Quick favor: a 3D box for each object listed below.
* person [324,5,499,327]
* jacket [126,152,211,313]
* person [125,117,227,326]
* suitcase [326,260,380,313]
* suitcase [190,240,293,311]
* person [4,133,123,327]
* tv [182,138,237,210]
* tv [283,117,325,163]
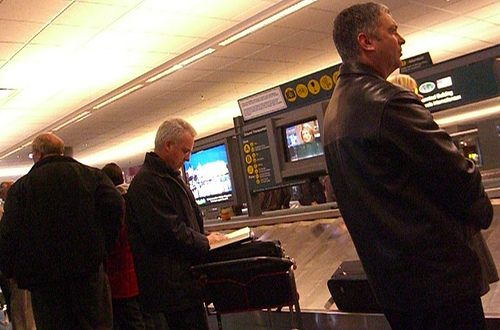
[{"bbox_3d":[0.700,-0.049,1.649,0.677,1.579,0.261,-11,-9,12],"label":"person"},{"bbox_3d":[-0.613,0.470,2.629,0.576,1.198,0.330,-5,-9,-20],"label":"jacket"},{"bbox_3d":[-0.623,0.417,2.646,0.582,1.585,0.348,-5,-9,-21],"label":"person"},{"bbox_3d":[0.840,1.063,2.997,0.249,0.381,0.235,-26,4,-37],"label":"suitcase"},{"bbox_3d":[-0.078,0.866,2.856,0.834,0.535,0.724,-7,-6,13],"label":"suitcase"},{"bbox_3d":[-1.465,0.503,2.793,0.871,1.650,0.354,-5,-9,-21],"label":"person"},{"bbox_3d":[-0.820,0.246,6.618,0.104,1.216,1.267,-9,1,40],"label":"tv"},{"bbox_3d":[0.730,-0.359,5.207,0.641,0.605,0.338,-10,-1,-15],"label":"tv"}]
